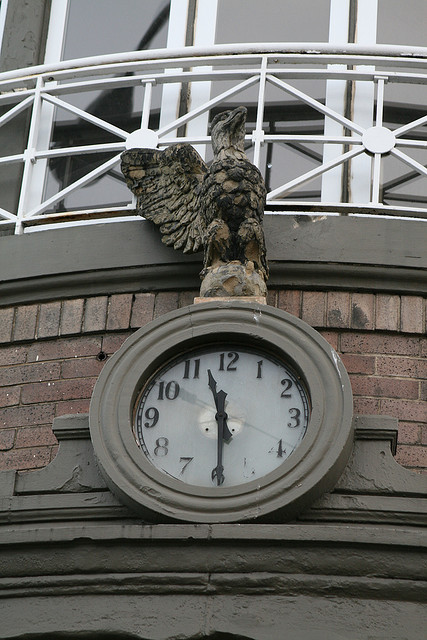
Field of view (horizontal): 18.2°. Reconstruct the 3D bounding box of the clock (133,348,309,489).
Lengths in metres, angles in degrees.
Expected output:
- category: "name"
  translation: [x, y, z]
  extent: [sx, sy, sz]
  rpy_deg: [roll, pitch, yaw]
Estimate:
- category: "clock"
  translation: [0.034, 0.399, 5.127]
  extent: [0.659, 0.054, 0.651]
  rpy_deg: [-2, 42, 9]
